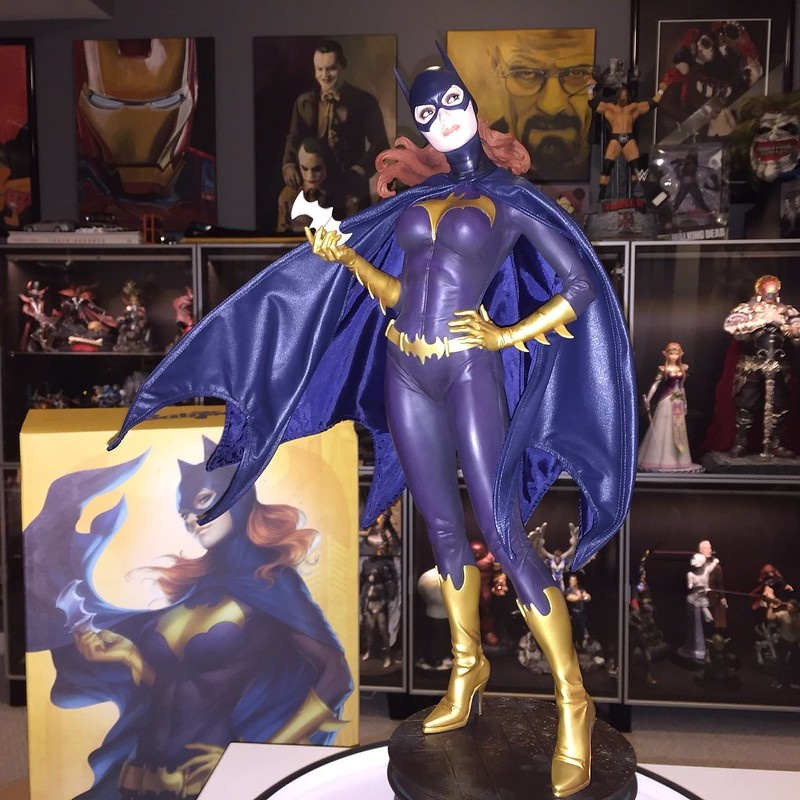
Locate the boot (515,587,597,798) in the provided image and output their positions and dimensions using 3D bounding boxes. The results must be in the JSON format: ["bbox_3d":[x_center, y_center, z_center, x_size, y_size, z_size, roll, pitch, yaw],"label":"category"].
[{"bbox_3d":[0.430,0.749,2.672,0.222,0.479,0.305,1,11,2],"label":"boot"}]

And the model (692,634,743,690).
[{"bbox_3d":[1.263,1.074,4.186,0.231,0.185,0.211,0,0,4],"label":"model"}]

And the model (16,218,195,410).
[{"bbox_3d":[-1.235,-0.371,4.173,1.098,0.796,0.319,-1,2,-2],"label":"model"}]

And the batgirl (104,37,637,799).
[{"bbox_3d":[0.096,-0.028,2.926,1.221,1.889,0.602,6,13,26],"label":"batgirl"}]
